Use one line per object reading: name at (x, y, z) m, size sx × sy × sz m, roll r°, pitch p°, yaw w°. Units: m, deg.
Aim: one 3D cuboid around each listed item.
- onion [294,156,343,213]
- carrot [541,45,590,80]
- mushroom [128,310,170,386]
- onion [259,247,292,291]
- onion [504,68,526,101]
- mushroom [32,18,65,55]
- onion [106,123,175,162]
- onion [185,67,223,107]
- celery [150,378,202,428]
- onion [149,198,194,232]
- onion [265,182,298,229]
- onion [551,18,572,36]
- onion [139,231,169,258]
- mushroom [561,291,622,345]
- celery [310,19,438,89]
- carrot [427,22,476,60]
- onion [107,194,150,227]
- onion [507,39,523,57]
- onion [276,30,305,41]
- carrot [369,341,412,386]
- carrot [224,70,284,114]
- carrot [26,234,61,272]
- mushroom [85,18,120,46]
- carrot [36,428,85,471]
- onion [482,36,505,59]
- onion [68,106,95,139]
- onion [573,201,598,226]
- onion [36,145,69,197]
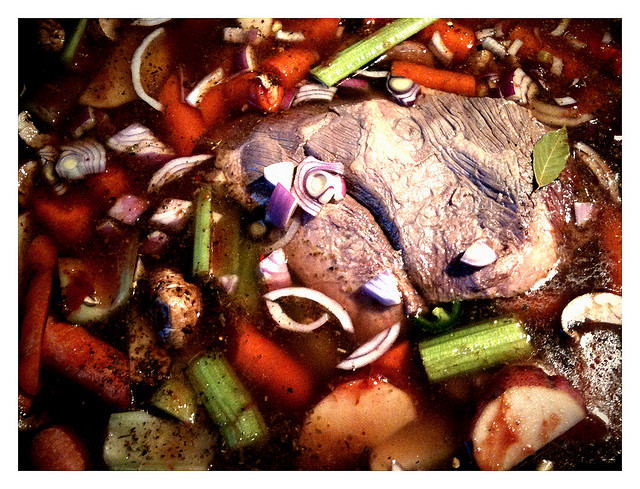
onion at (-0.061, -0.336, 3.756) m, size 0.165 × 0.158 × 0.253 m, roll 8°, pitch 52°, yaw -4°
carrot at (1.418, -1.051, 3.906) m, size 0.254 × 0.061 × 0.150 m, roll 42°, pitch 102°, yaw 8°
mushroom at (-0.954, 0.561, 3.700) m, size 0.207 × 0.085 × 0.382 m, roll -6°, pitch 84°, yaw -14°
onion at (-0.245, 0.150, 3.769) m, size 0.137 × 0.141 × 0.181 m, roll -17°, pitch 58°, yaw -22°
onion at (1.112, -0.924, 3.903) m, size 0.115 × 0.098 × 0.159 m, roll 20°, pitch 52°, yaw 5°
mushroom at (-1.548, -1.188, 3.893) m, size 0.163 × 0.091 × 0.213 m, roll -12°, pitch 98°, yaw -10°
onion at (-1.014, -0.589, 3.889) m, size 0.385 × 0.097 × 0.158 m, roll 16°, pitch 52°, yaw 0°
onion at (-0.640, -0.873, 3.964) m, size 0.069 × 0.169 × 0.308 m, roll 21°, pitch 22°, yaw -7°
celery at (-0.799, 0.871, 3.807) m, size 0.301 × 0.087 × 0.315 m, roll 17°, pitch 30°, yaw -20°
onion at (-0.835, -0.166, 3.848) m, size 0.235 × 0.127 × 0.144 m, roll 13°, pitch 52°, yaw -1°
onion at (-0.211, -0.200, 3.750) m, size 0.141 × 0.211 × 0.133 m, roll 25°, pitch 52°, yaw 10°
onion at (1.382, -1.242, 3.899) m, size 0.062 × 0.122 × 0.040 m, roll 31°, pitch 21°, yaw 10°
onion at (-0.932, -0.003, 3.841) m, size 0.112 × 0.040 × 0.165 m, roll 23°, pitch 84°, yaw 0°
mushroom at (1.499, 0.378, 3.766) m, size 0.327 × 0.165 × 0.177 m, roll -3°, pitch 53°, yaw -13°
celery at (0.317, -1.089, 3.903) m, size 0.588 × 0.084 × 0.146 m, roll -34°, pitch 85°, yaw -1°
carrot at (0.756, -1.184, 3.972) m, size 0.281 × 0.148 × 0.133 m, roll 32°, pitch 96°, yaw 5°
onion at (-1.087, -0.203, 3.865) m, size 0.206 × 0.092 × 0.132 m, roll 22°, pitch 52°, yaw 5°
onion at (1.120, -1.136, 3.913) m, size 0.049 × 0.066 × 0.081 m, roll 34°, pitch 54°, yaw 16°
onion at (-0.177, -1.200, 3.966) m, size 0.152 × 0.034 × 0.056 m, roll 5°, pitch 93°, yaw -1°
carrot at (0.392, 0.667, 3.749) m, size 0.231 × 0.135 × 0.187 m, roll -4°, pitch 54°, yaw -14°
carrot at (-0.375, -0.871, 3.884) m, size 0.337 × 0.170 × 0.199 m, roll 5°, pitch 52°, yaw -8°
carrot at (-1.560, 0.045, 3.835) m, size 0.170 × 0.087 × 0.186 m, roll 19°, pitch 52°, yaw 3°
mushroom at (-1.250, -1.226, 3.901) m, size 0.193 × 0.118 × 0.112 m, roll 5°, pitch 52°, yaw -7°
carrot at (-1.429, 1.133, 3.756) m, size 0.281 × 0.108 × 0.183 m, roll 8°, pitch 52°, yaw -6°
onion at (0.994, -1.136, 3.909) m, size 0.140 × 0.046 × 0.072 m, roll 36°, pitch 86°, yaw -3°
onion at (-1.367, -0.708, 3.909) m, size 0.147 × 0.109 × 0.122 m, roll -14°, pitch 57°, yaw -20°
onion at (1.489, -0.175, 3.819) m, size 0.128 × 0.078 × 0.111 m, roll -1°, pitch 54°, yaw -12°
onion at (-1.526, -0.430, 3.900) m, size 0.142 × 0.107 × 0.304 m, roll 3°, pitch 83°, yaw -6°
